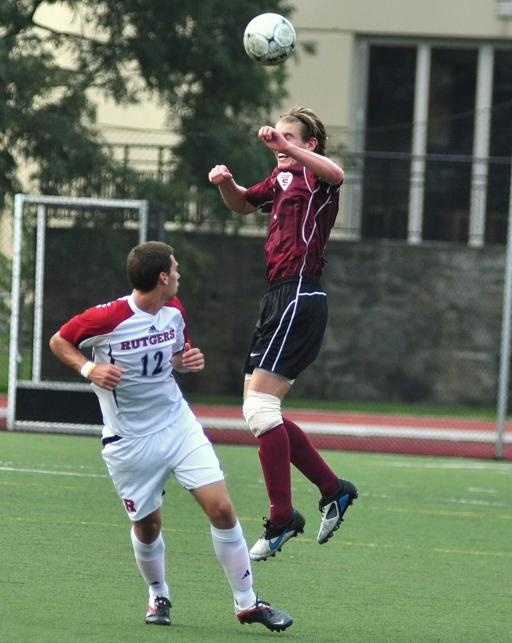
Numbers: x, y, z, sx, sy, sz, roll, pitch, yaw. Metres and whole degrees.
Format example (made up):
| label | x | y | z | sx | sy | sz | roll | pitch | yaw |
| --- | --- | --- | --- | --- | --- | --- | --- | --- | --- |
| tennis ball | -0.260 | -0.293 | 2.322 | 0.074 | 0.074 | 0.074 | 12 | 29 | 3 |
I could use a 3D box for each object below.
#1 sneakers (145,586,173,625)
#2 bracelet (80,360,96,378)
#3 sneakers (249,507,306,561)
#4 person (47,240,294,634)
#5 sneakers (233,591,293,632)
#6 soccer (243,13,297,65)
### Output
| label | x | y | z | sx | sy | sz | roll | pitch | yaw |
| --- | --- | --- | --- | --- | --- | --- | --- | --- | --- |
| sneakers | -0.476 | 1.398 | 6.484 | 0.116 | 0.168 | 0.349 | 3 | -7 | -6 |
| bracelet | -0.812 | 0.228 | 6.345 | 0.029 | 0.083 | 0.061 | 20 | -16 | 2 |
| sneakers | 0.123 | 1.191 | 7.329 | 0.350 | 0.184 | 0.127 | -42 | 31 | -8 |
| person | -0.475 | 0.554 | 6.419 | 1.083 | 1.848 | 0.445 | 2 | 4 | -7 |
| sneakers | 0.046 | 1.411 | 6.416 | 0.304 | 0.173 | 0.127 | 5 | 10 | 4 |
| soccer | 0.083 | -1.672 | 7.967 | 0.291 | 0.314 | 0.300 | -3 | 0 | 1 |
